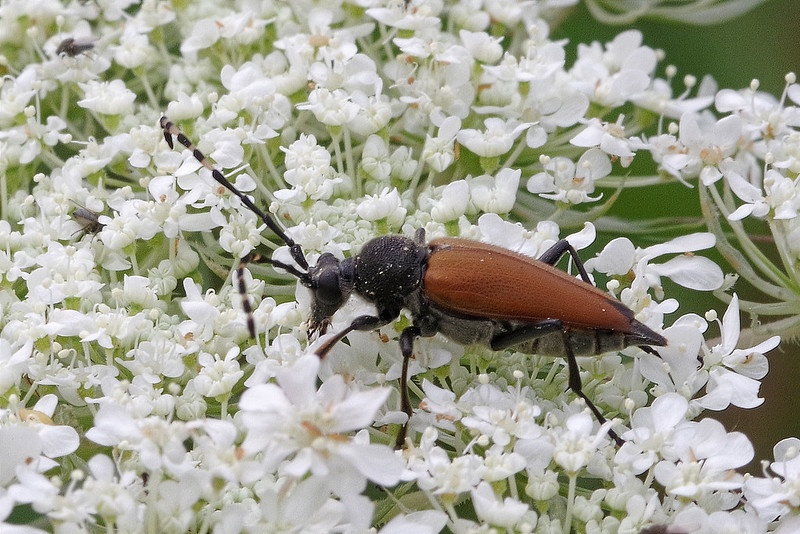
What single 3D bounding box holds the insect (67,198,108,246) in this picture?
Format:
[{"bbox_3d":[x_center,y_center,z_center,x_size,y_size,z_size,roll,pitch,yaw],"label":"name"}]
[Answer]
[{"bbox_3d":[-1.453,-0.257,4.109,0.163,0.260,0.077,19,92,-14],"label":"insect"}]
